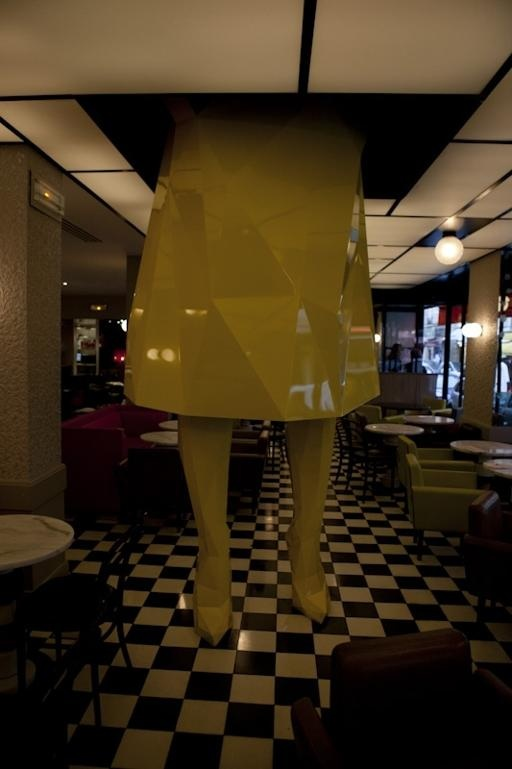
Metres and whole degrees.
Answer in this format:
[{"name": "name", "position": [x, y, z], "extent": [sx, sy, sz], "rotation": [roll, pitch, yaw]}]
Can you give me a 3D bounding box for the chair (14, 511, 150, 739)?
[{"name": "chair", "position": [-0.770, 0.960, 2.117], "extent": [0.368, 0.652, 0.354], "rotation": [3, -11, -2]}]
